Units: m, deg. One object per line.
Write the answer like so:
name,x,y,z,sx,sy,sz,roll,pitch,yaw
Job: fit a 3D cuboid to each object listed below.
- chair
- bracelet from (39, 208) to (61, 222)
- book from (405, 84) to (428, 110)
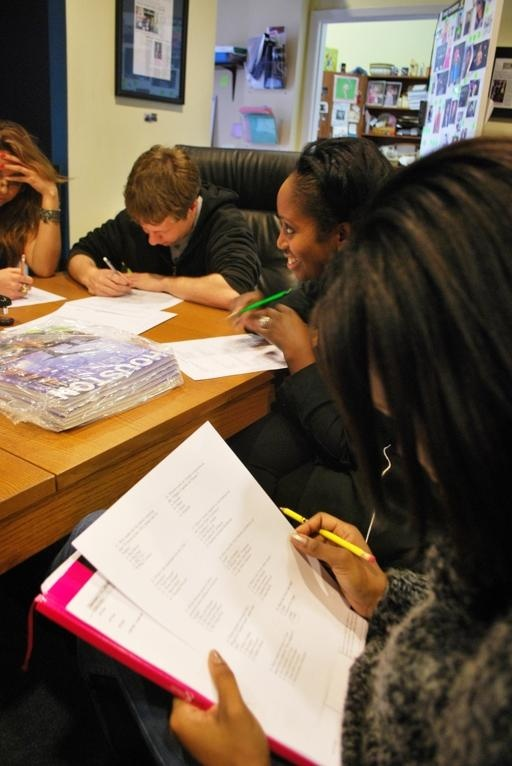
chair,0.016,-0.782,2.605,0.566,0.820,0.663,-1,20,16
bracelet,-0.705,-0.587,1.885,0.041,0.039,0.051,-16,32,-39
book,1.735,-3.231,6.103,0.269,0.123,0.368,4,41,13
